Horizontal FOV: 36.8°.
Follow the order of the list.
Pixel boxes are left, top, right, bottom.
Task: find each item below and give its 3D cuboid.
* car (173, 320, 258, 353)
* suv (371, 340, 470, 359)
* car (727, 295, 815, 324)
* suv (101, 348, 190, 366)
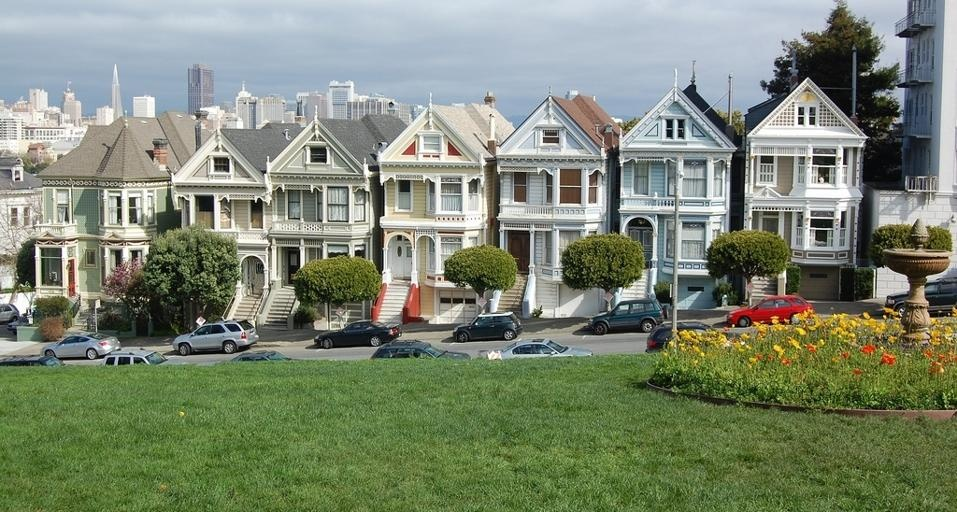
[{"bbox_3d":[-19.786,6.361,108.775,6.293,2.372,2.590,0,0,12],"label":"car"},{"bbox_3d":[-4.105,6.578,97.487,5.178,1.579,2.324,-3,0,7],"label":"suv"},{"bbox_3d":[20.883,4.110,104.445,4.897,2.271,2.875,0,-1,-15],"label":"car"},{"bbox_3d":[-24.042,7.330,101.092,5.445,1.665,2.434,-3,0,9],"label":"suv"}]
